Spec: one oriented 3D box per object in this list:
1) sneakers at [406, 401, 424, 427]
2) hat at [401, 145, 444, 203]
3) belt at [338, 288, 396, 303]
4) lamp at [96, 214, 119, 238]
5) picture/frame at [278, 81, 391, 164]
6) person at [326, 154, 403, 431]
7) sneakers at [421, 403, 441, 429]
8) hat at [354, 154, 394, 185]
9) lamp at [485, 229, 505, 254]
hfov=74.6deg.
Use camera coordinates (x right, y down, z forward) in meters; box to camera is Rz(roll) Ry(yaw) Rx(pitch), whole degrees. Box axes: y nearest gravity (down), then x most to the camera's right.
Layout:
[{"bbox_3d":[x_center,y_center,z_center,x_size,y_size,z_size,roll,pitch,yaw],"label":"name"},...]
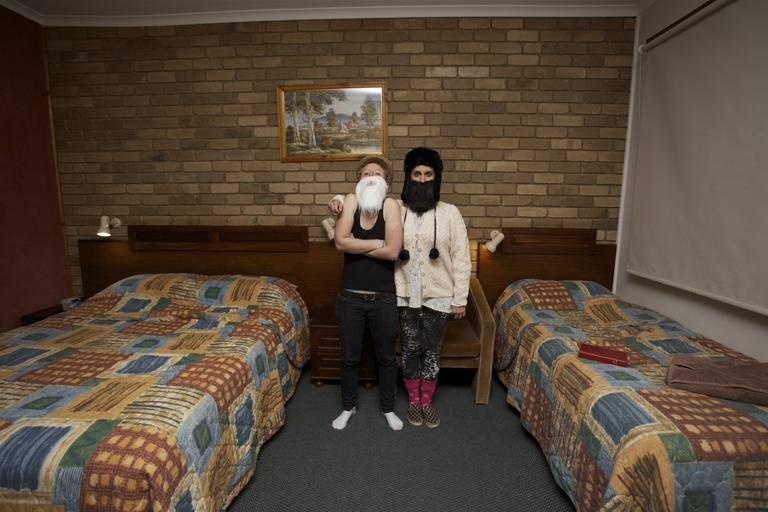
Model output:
[{"bbox_3d":[0.246,1.233,3.852,0.093,0.077,0.197,0,2,0],"label":"sneakers"},{"bbox_3d":[0.288,-0.629,3.823,0.392,0.453,0.408,0,1,0],"label":"hat"},{"bbox_3d":[-0.125,0.286,3.695,0.390,0.091,0.071,0,13,2],"label":"belt"},{"bbox_3d":[-2.602,-0.279,4.709,0.160,0.196,0.257,-1,-9,12],"label":"lamp"},{"bbox_3d":[-0.426,-1.240,4.548,1.110,0.647,0.045,0,16,-1],"label":"picture/frame"},{"bbox_3d":[-0.126,0.296,3.793,0.551,2.036,0.440,0,14,2],"label":"person"},{"bbox_3d":[0.357,1.246,3.893,0.100,0.078,0.214,-2,4,-12],"label":"sneakers"},{"bbox_3d":[-0.081,-0.677,3.928,0.315,0.368,0.144,6,-19,0],"label":"hat"},{"bbox_3d":[0.988,-0.124,4.592,0.163,0.211,0.104,25,2,2],"label":"lamp"}]
